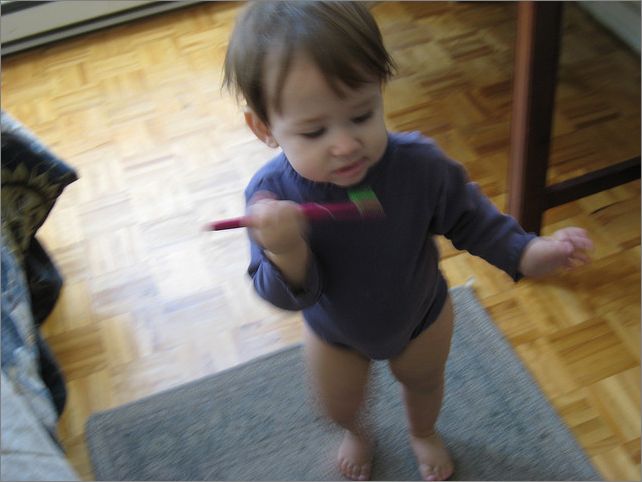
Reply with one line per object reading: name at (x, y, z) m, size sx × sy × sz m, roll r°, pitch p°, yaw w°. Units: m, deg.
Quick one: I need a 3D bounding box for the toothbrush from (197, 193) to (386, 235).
toothbrush at (-0.042, -0.029, 0.797) m, size 0.270 × 0.036 × 0.082 m, roll -7°, pitch 60°, yaw -17°
